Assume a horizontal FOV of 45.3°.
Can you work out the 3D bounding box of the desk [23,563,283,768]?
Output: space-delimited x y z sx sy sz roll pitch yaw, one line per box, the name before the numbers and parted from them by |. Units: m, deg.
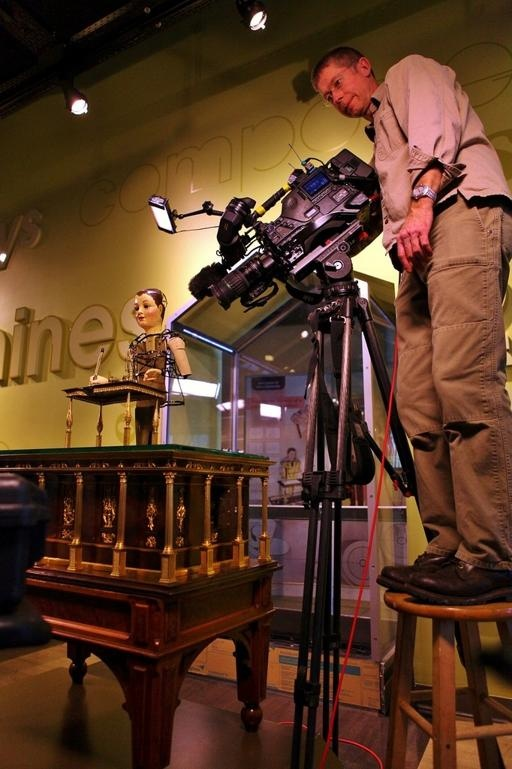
desk | -0.332 0.796 1.828 0.529 0.539 0.587 0 -7 27
